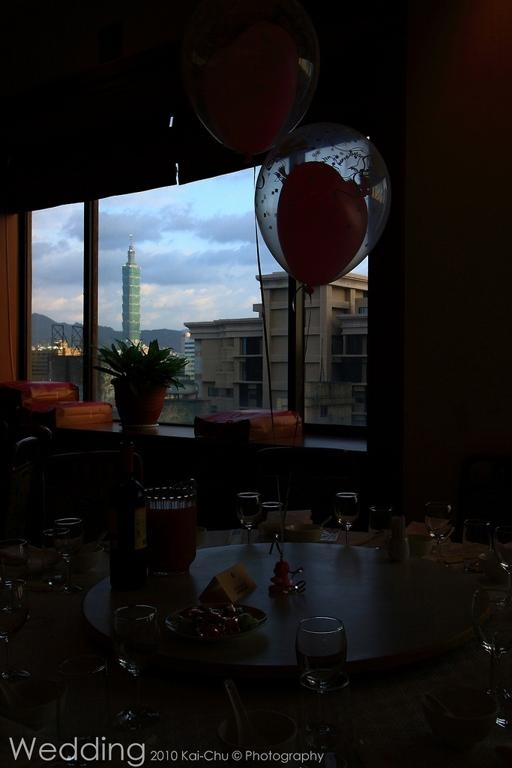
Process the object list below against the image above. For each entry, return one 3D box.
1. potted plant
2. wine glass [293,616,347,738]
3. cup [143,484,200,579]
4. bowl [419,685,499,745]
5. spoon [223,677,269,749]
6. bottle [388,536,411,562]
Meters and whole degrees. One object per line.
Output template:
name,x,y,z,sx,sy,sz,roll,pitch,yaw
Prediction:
potted plant,-0.587,0.026,3.274,0.384,0.463,0.400,-3,-7,35
wine glass,0.065,0.286,0.639,0.049,0.086,0.091,-1,-3,8
cup,-0.148,0.253,1.153,0.114,0.227,0.119,-1,-5,0
bowl,0.205,0.339,0.650,0.071,0.041,0.067,0,-3,0
spoon,-0.006,0.333,0.633,0.019,0.023,0.076,-15,39,-5
bottle,0.278,0.317,1.258,0.036,0.049,0.037,-2,1,0
